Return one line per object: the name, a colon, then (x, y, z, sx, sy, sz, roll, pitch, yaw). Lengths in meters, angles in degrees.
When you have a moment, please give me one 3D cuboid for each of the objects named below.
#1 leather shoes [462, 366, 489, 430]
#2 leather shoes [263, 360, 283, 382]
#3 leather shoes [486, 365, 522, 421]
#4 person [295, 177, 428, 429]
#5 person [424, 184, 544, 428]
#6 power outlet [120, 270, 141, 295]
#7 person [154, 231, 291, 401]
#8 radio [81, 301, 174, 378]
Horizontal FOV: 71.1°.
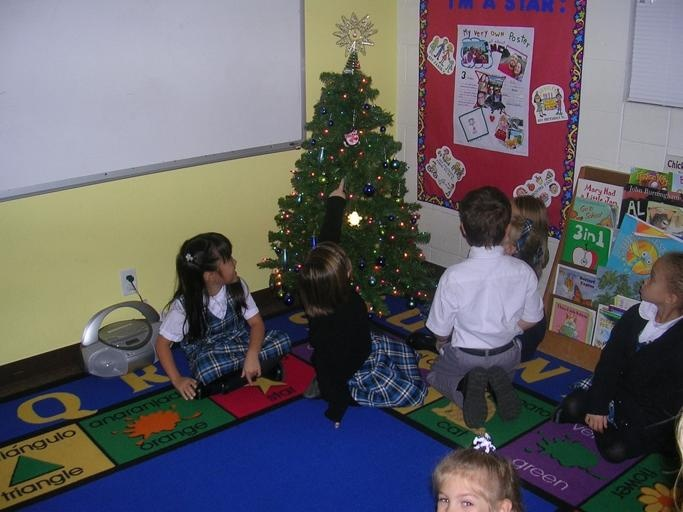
leather shoes: (0.722, 0.778, 2.610, 0.134, 0.338, 0.130, 2, -9, 7)
leather shoes: (-0.450, 0.748, 3.128, 0.136, 0.138, 0.080, 21, 29, 33)
leather shoes: (0.870, 0.739, 2.644, 0.159, 0.311, 0.063, -23, 7, -19)
person: (0.127, 0.313, 2.862, 0.798, 1.227, 0.863, 3, 25, 11)
person: (0.781, 0.315, 2.693, 0.598, 1.255, 0.695, 12, 29, 25)
power outlet: (-1.536, 0.184, 3.474, 0.130, 0.237, 0.030, -15, 24, -40)
person: (-0.756, 0.358, 2.970, 0.788, 0.984, 0.453, -14, 29, -23)
radio: (-1.524, 0.584, 3.377, 0.334, 0.533, 0.588, -9, 4, 44)
